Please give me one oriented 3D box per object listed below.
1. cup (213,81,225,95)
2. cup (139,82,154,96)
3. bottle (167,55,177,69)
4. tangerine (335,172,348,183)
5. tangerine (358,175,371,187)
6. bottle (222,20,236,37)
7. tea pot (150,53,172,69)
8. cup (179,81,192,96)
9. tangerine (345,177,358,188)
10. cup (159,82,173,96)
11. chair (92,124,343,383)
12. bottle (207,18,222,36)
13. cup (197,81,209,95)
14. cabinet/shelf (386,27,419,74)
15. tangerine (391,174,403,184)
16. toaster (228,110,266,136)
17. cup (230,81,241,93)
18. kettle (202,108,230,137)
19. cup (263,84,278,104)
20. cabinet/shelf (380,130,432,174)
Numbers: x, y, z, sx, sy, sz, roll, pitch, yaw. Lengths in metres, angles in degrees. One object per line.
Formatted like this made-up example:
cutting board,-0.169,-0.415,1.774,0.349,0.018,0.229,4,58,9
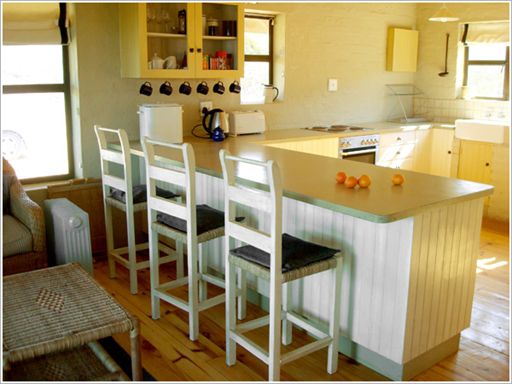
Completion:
cup,-0.384,-1.063,4.331,0.128,0.144,0.139,1,17,0
cup,-1.047,-0.966,3.991,0.124,0.138,0.151,-3,18,-15
bottle,-0.768,-1.167,3.804,0.103,0.114,0.099,-3,19,-7
tangerine,0.517,-0.083,2.565,0.054,0.060,0.071,0,3,-11
tangerine,0.647,-0.063,2.533,0.069,0.070,0.070,-6,-2,6
bottle,-0.246,-1.542,4.006,0.139,0.165,0.142,4,16,13
tea pot,-0.854,-1.163,3.745,0.192,0.140,0.105,-8,17,-41
cup,-0.702,-1.020,4.177,0.134,0.128,0.113,-4,18,-18
tangerine,0.567,-0.053,2.530,0.074,0.061,0.057,-9,14,28
cup,-0.869,-1.000,4.083,0.140,0.139,0.105,-6,19,-22
chair,-0.292,0.450,2.812,0.399,0.845,1.489,-18,27,-38
bottle,-0.393,-1.519,3.909,0.144,0.146,0.141,-4,12,-18
cup,-0.535,-1.031,4.259,0.094,0.144,0.086,-8,0,0
cabinet/shelf,1.903,-1.855,5.600,0.525,0.517,0.179,-15,19,-42
tangerine,0.869,-0.080,2.585,0.070,0.063,0.122,7,18,18
toaster,-0.086,-0.723,4.465,0.365,0.244,0.198,-7,13,-19
cup,-0.225,-1.102,4.441,0.117,0.135,0.167,0,17,-5
kettle,-0.423,-0.713,4.283,0.318,0.330,0.218,-6,22,-13
cup,0.156,-1.101,4.720,0.230,0.237,0.141,-9,15,-36
cabinet/shelf,1.726,-0.482,4.898,0.585,0.559,0.226,-9,16,-31
